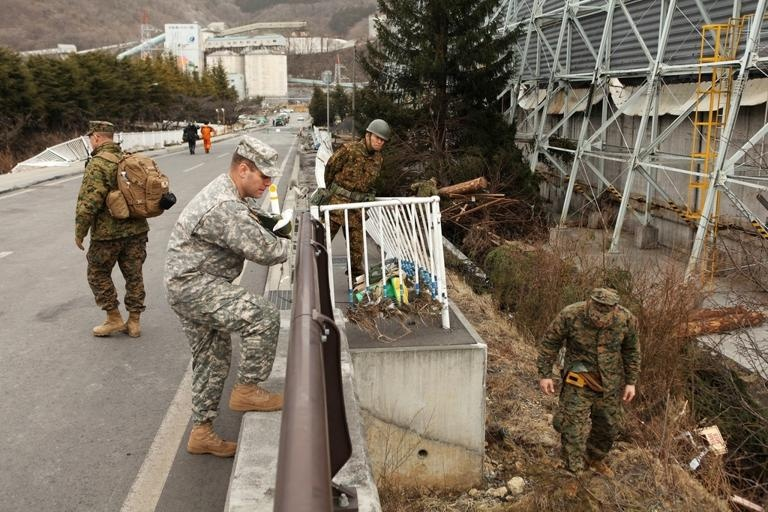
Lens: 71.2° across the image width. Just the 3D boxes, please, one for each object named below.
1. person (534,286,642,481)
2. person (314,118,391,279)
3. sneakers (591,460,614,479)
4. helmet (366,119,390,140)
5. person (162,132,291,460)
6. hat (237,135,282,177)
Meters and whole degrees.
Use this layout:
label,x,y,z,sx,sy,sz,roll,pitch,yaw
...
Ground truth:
label,x,y,z,sx,sy,sz,roll,pitch,yaw
person,2.006,1.185,5.355,0.958,1.809,0.739,-17,28,-23
person,-0.380,-0.887,7.284,0.950,1.820,1.325,-6,26,-1
sneakers,2.189,2.153,5.465,0.214,0.135,0.088,18,6,0
helmet,-0.097,-1.680,7.013,0.246,0.185,0.279,11,19,-36
person,-1.296,0.358,4.482,1.036,2.557,1.062,1,4,-4
hat,-0.988,-0.796,4.166,0.426,0.187,0.301,21,11,-14
